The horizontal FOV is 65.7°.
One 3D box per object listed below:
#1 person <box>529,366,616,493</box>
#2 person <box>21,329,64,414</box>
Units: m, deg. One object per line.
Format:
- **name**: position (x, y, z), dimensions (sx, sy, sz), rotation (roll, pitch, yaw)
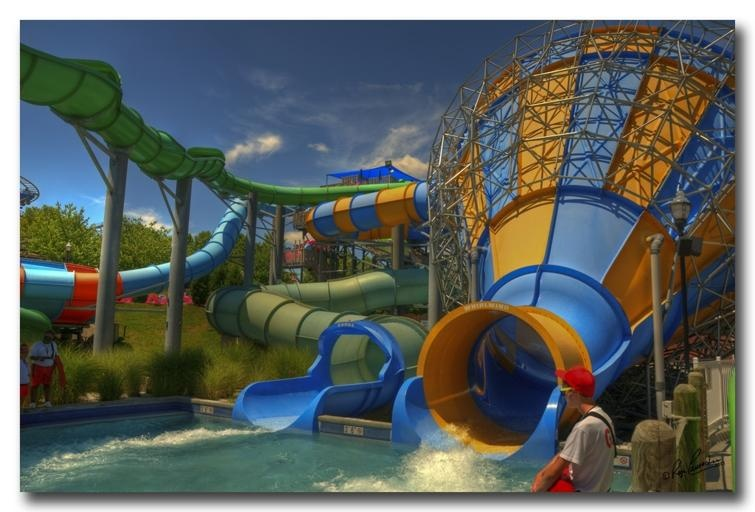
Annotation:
- **person**: position (2.795, 2.405, 8.125), dimensions (0.988, 1.704, 0.397), rotation (2, -8, 17)
- **person**: position (-8.387, 2.816, 14.666), dimensions (0.808, 1.780, 0.533), rotation (11, -10, -43)
